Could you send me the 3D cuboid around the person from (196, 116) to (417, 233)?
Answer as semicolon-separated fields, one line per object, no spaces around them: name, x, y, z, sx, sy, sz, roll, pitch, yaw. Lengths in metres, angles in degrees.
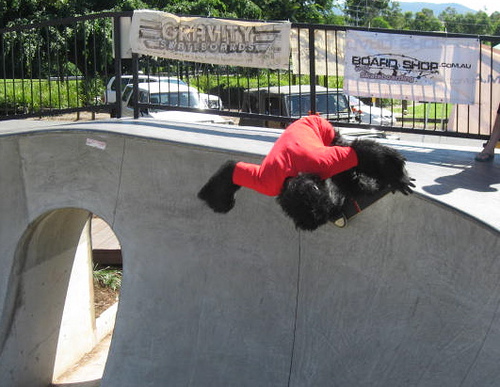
person;0.529;-0.155;3.824;1.211;0.780;0.677;-1;9;-15

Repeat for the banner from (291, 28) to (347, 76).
banner;0.845;-1.794;6.418;0.702;0.633;0.042;-2;29;-2
